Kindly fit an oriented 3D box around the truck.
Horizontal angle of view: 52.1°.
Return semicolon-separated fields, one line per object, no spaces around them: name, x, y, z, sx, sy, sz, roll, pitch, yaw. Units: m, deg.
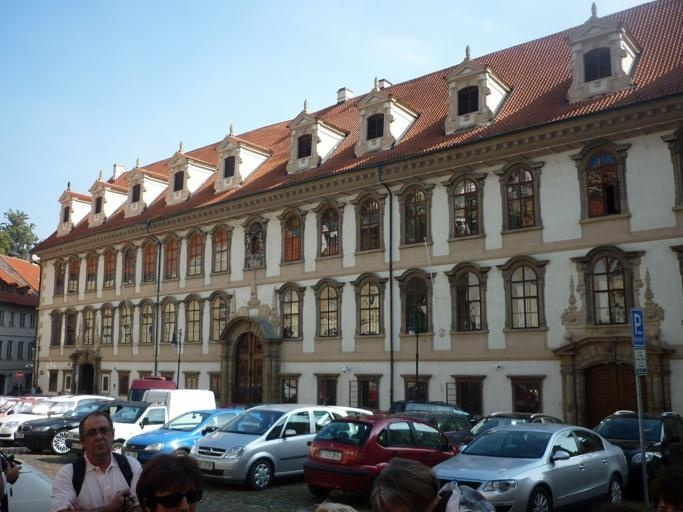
truck;-6.732;5.411;23.753;2.740;2.311;4.805;-15;-20;41

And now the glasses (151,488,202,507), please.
glasses;-1.706;2.528;7.281;0.503;0.182;0.140;2;-16;-14

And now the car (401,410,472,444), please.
car;3.233;5.341;22.297;2.338;1.077;1.272;14;-21;-21

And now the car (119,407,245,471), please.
car;-4.363;5.091;20.883;2.376;1.520;4.372;-14;-19;38

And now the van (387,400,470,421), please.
van;3.040;5.205;23.965;2.186;0.790;1.005;1;-8;-19

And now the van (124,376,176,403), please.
van;-9.111;6.165;32.950;2.791;1.735;1.760;4;-12;-14

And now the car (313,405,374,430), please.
car;0.041;4.642;20.545;0.867;0.623;1.864;-6;-10;35
